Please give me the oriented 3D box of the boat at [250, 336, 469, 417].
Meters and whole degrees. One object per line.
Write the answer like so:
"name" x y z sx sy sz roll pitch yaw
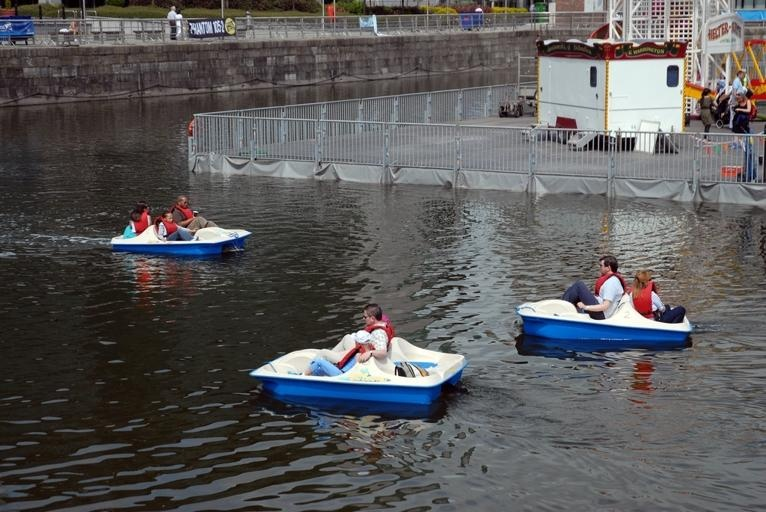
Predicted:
"boat" -0.321 1.710 12.948 2.685 0.471 1.288 1 3 13

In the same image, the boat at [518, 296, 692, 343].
"boat" 3.574 0.946 14.812 2.442 0.491 1.057 2 -1 7

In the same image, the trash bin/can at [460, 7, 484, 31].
"trash bin/can" 7.589 -20.814 78.576 1.282 1.781 2.611 2 6 31

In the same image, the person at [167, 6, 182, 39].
"person" -12.981 -14.838 56.425 0.940 2.085 0.910 -2 7 2

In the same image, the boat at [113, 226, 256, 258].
"boat" -4.405 -0.315 19.737 2.376 0.360 1.063 1 6 10

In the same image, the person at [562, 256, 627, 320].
"person" 3.650 0.544 15.616 1.271 1.028 0.712 15 33 18

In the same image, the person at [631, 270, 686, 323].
"person" 4.694 0.685 15.422 0.755 0.817 0.690 -31 30 -25

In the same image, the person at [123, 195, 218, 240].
"person" -5.039 -0.905 19.997 1.893 0.481 1.131 1 19 15
